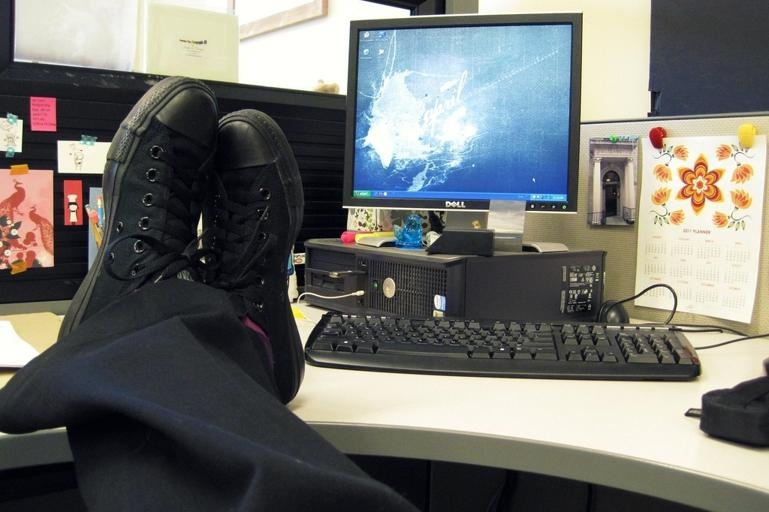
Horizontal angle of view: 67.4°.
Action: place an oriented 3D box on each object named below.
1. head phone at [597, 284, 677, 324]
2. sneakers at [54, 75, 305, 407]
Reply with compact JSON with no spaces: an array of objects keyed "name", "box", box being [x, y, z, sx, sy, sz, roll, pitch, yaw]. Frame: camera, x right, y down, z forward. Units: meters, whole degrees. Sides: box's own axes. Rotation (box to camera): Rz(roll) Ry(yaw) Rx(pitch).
[{"name":"head phone","box":[0.488,0.096,1.124,0.123,0.085,0.043,-15,-15,3]},{"name":"sneakers","box":[-0.326,-0.060,0.947,0.299,0.542,0.230,18,-28,-27]}]
